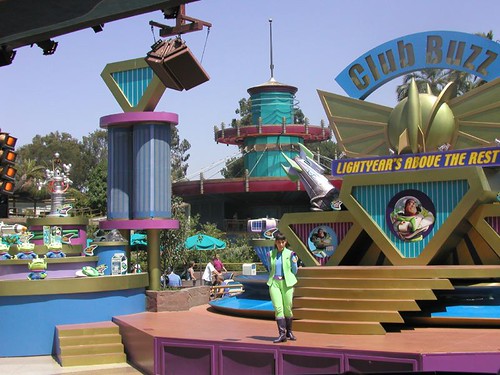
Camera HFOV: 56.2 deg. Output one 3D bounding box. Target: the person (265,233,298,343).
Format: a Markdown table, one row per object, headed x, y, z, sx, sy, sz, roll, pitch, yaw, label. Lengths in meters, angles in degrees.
| x | y | z | sx | sy | sz | roll | pitch | yaw | label |
| --- | --- | --- | --- | --- | --- | --- | --- | --- | --- |
| 0.714 | 2.200 | 10.372 | 0.616 | 2.325 | 0.377 | 0 | -2 | 1 | person |

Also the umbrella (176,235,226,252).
| x | y | z | sx | sy | sz | roll | pitch | yaw | label |
| --- | --- | --- | --- | --- | --- | --- | --- | --- | --- |
| -3.236 | 3.612 | 31.097 | 3.373 | 1.015 | 1.159 | 2 | -3 | -44 | umbrella |

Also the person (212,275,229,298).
| x | y | z | sx | sy | sz | roll | pitch | yaw | label |
| --- | --- | --- | --- | --- | --- | --- | --- | --- | --- |
| -1.536 | 4.650 | 21.983 | 0.763 | 1.034 | 0.746 | -4 | -13 | 22 | person |

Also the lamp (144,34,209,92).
| x | y | z | sx | sy | sz | roll | pitch | yaw | label |
| --- | --- | --- | --- | --- | --- | --- | --- | --- | --- |
| -1.715 | -2.588 | 10.692 | 1.209 | 0.689 | 1.248 | -16 | -43 | 3 | lamp |

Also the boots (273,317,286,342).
| x | y | z | sx | sy | sz | roll | pitch | yaw | label |
| --- | --- | --- | --- | --- | --- | --- | --- | --- | --- |
| 0.668 | 3.131 | 10.375 | 0.282 | 0.553 | 0.497 | 0 | -2 | 3 | boots |
